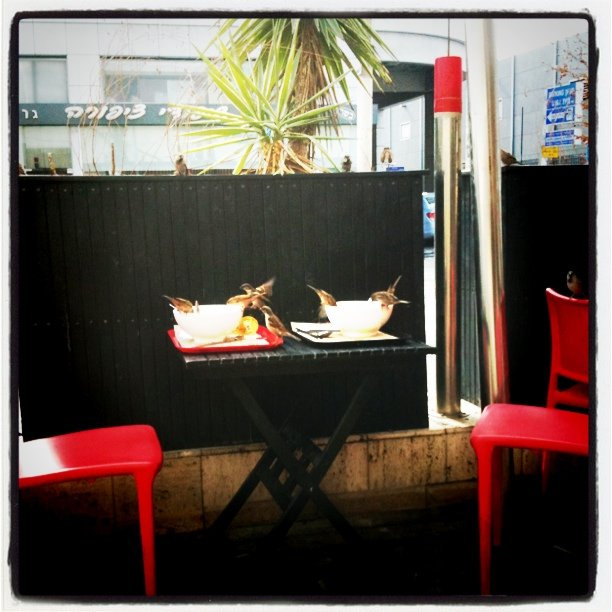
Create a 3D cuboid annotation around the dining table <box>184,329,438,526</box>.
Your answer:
[{"bbox_3d":[-0.042,0.483,2.278,0.910,0.736,0.530,-1,11,-23],"label":"dining table"}]

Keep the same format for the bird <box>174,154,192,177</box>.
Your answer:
[{"bbox_3d":[-0.486,-0.562,2.505,0.052,0.046,0.106,-1,35,-7],"label":"bird"}]

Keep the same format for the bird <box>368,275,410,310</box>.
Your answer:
[{"bbox_3d":[0.267,-0.028,2.068,0.104,0.062,0.109,-23,1,12],"label":"bird"}]

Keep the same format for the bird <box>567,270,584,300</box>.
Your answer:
[{"bbox_3d":[1.198,-0.085,2.823,0.076,0.128,0.218,5,13,23],"label":"bird"}]

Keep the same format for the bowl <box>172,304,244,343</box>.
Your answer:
[{"bbox_3d":[-0.318,0.055,2.054,0.178,0.100,0.190,3,19,-1],"label":"bowl"}]

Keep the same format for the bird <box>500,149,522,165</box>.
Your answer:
[{"bbox_3d":[0.935,-0.680,2.910,0.078,0.078,0.064,-19,26,-25],"label":"bird"}]

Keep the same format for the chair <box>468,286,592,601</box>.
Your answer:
[{"bbox_3d":[0.778,0.460,2.171,0.500,0.929,0.598,-2,3,1],"label":"chair"}]

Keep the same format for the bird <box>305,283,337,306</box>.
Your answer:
[{"bbox_3d":[0.052,-0.027,2.106,0.122,0.041,0.030,41,9,4],"label":"bird"}]

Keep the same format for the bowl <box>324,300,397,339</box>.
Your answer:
[{"bbox_3d":[0.169,0.038,2.075,0.212,0.123,0.109,1,12,4],"label":"bowl"}]

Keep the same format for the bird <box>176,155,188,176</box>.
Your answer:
[{"bbox_3d":[-0.480,-0.538,2.450,0.025,0.094,0.035,-7,-18,6],"label":"bird"}]

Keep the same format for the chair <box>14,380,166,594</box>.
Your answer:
[{"bbox_3d":[-0.686,0.513,1.941,0.440,0.787,0.401,-2,13,-21],"label":"chair"}]

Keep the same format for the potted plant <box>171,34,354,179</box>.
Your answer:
[{"bbox_3d":[-0.183,-0.785,2.790,0.655,0.672,0.681,-5,-4,-12],"label":"potted plant"}]

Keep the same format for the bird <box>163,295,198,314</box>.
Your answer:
[{"bbox_3d":[-0.393,-0.012,2.023,0.080,0.055,0.156,-3,13,-12],"label":"bird"}]

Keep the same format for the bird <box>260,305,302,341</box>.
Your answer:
[{"bbox_3d":[-0.102,0.064,2.184,0.159,0.107,0.055,29,11,16],"label":"bird"}]
